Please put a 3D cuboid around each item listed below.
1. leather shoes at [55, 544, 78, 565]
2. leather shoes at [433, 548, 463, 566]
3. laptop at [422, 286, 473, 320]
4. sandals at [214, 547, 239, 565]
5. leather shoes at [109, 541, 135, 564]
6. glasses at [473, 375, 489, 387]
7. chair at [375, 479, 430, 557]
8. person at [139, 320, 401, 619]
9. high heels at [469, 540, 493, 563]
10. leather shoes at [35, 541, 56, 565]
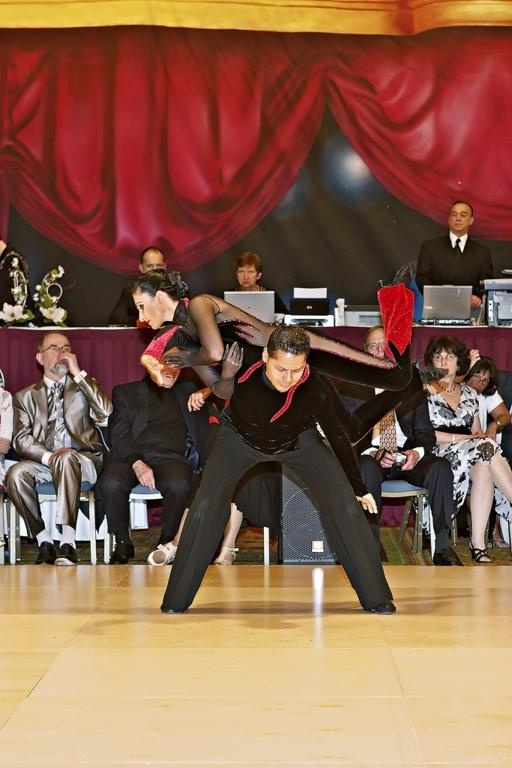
[{"bbox_3d":[-1.078,0.989,3.477,0.073,0.079,0.178,0,-6,-1],"label":"leather shoes"},{"bbox_3d":[1.099,1.013,3.522,0.144,0.087,0.138,-2,-9,13],"label":"leather shoes"},{"bbox_3d":[1.560,-0.656,4.965,0.389,0.266,0.272,1,-1,2],"label":"laptop"},{"bbox_3d":[-0.184,1.032,3.615,0.068,0.074,0.192,-2,-10,7],"label":"sandals"},{"bbox_3d":[-0.785,1.006,3.586,0.150,0.148,0.092,1,-6,18],"label":"leather shoes"},{"bbox_3d":[1.567,-0.016,4.255,0.113,0.094,0.055,2,-9,-17],"label":"glasses"},{"bbox_3d":[0.934,0.823,3.843,0.262,0.365,0.235,8,-19,35],"label":"chair"},{"bbox_3d":[0.112,0.179,2.675,1.287,1.399,0.995,0,16,-2],"label":"person"},{"bbox_3d":[1.387,1.051,3.756,0.105,0.111,0.087,-3,-9,15],"label":"high heels"},{"bbox_3d":[-1.240,1.007,3.596,0.111,0.120,0.179,2,-9,-17],"label":"leather shoes"}]
